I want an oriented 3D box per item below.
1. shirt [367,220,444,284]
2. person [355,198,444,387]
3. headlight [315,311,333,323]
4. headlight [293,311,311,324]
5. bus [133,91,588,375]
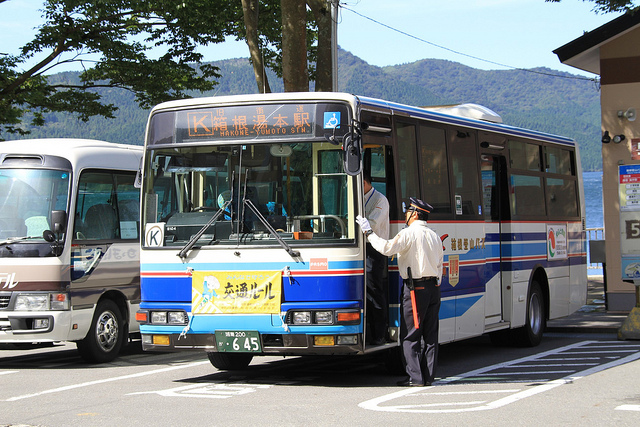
[{"bbox_3d":[1.397,0.576,8.736,1.507,1.019,0.627,3,0,-41],"label":"shirt"},{"bbox_3d":[1.287,1.172,8.427,1.260,2.751,0.416,1,-4,-40],"label":"person"},{"bbox_3d":[0.047,1.423,7.964,0.235,0.152,0.061,-1,-3,-2],"label":"headlight"},{"bbox_3d":[-0.254,1.443,8.001,0.247,0.162,0.053,-1,-3,1],"label":"headlight"},{"bbox_3d":[1.413,0.026,11.803,4.493,4.362,9.542,-3,-4,39],"label":"bus"}]
